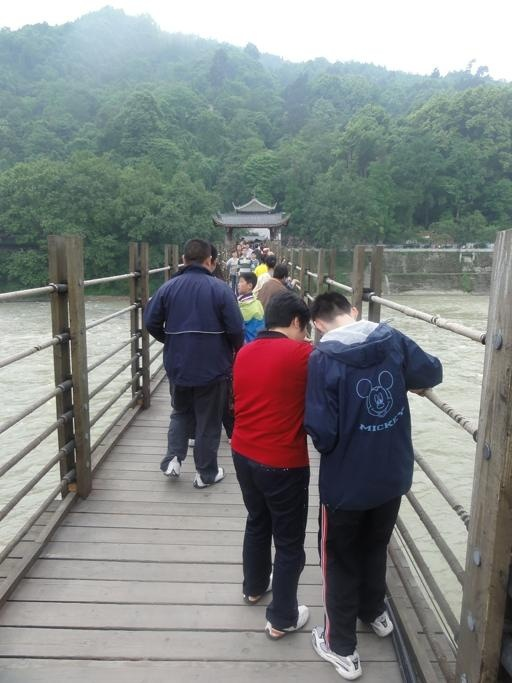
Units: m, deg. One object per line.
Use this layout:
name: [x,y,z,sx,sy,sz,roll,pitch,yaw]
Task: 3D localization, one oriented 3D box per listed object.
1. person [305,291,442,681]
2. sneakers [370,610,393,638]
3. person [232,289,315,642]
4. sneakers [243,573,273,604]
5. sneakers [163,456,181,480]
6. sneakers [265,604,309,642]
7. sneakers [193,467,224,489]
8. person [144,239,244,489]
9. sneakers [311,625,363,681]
person: [0.291,0.402,1.659,0.424,1.083,0.371,-1,8,-18]
sneakers: [0.400,0.894,1.821,0.040,0.055,0.117,-9,15,-3]
person: [0.094,0.390,1.748,0.253,1.072,0.434,-2,8,-24]
sneakers: [0.009,0.859,1.994,0.049,0.064,0.142,5,10,17]
sneakers: [-0.446,0.663,2.915,0.053,0.075,0.154,9,-1,-7]
sneakers: [0.101,0.880,1.820,0.061,0.078,0.174,7,13,33]
sneakers: [-0.262,0.733,3.013,0.062,0.088,0.194,6,17,30]
person: [-0.332,0.115,2.914,0.487,1.279,0.296,0,7,-12]
sneakers: [0.235,0.919,1.663,0.058,0.074,0.167,3,14,-25]
